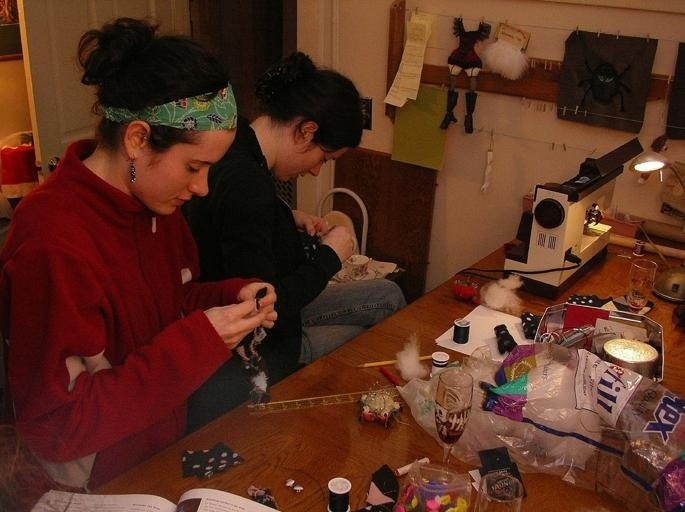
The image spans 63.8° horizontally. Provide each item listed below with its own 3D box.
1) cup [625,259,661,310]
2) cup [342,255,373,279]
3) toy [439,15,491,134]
[{"bbox_3d":[1.207,0.120,2.210,0.078,0.242,0.078,0,32,0],"label":"cup"},{"bbox_3d":[0.076,0.067,3.169,0.121,0.109,0.139,25,39,30],"label":"cup"},{"bbox_3d":[0.674,-0.982,3.013,0.228,0.605,0.160,11,17,26],"label":"toy"}]
